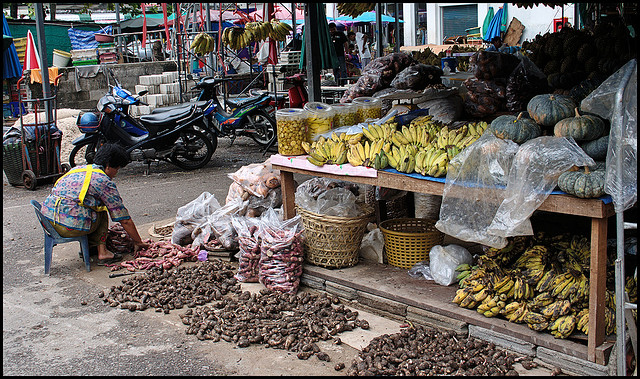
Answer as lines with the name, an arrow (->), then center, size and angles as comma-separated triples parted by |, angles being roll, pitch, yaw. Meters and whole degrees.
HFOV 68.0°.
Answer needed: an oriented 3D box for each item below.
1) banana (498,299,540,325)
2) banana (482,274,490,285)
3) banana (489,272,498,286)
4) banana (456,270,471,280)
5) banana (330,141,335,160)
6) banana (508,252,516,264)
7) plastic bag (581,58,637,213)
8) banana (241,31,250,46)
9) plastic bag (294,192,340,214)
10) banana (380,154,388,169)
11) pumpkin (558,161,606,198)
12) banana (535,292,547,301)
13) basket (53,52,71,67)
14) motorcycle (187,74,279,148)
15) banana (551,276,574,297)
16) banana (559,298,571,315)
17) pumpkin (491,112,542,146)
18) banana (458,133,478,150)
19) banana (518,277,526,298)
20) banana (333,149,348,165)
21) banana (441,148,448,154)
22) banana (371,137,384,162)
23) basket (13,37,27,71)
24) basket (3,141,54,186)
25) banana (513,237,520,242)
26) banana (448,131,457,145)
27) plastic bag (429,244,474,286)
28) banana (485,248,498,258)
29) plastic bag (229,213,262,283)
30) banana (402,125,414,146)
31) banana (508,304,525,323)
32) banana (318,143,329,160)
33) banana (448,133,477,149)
banana -> 1.911, 1.171, 4.537 | 0.307, 0.219, 0.187 | -8, 16, -15
banana -> 1.655, 0.897, 4.734 | 0.063, 0.023, 0.089 | -1, 34, 19
banana -> 1.725, 0.879, 4.724 | 0.057, 0.025, 0.104 | -5, 29, 9
banana -> 1.505, 0.889, 4.996 | 0.175, 0.051, 0.051 | -24, 33, -17
banana -> 0.146, -0.466, 5.494 | 0.038, 0.138, 0.040 | 5, -3, 37
banana -> 1.982, 0.705, 4.905 | 0.070, 0.119, 0.054 | 2, 18, 21
plastic bag -> 2.475, -0.463, 4.043 | 0.448, 1.242, 0.525 | 3, 18, 23
banana -> -1.766, -3.578, 11.310 | 0.101, 0.386, 0.112 | -18, 10, 16
plastic bag -> -0.092, 0.157, 5.599 | 0.322, 0.113, 0.308 | -3, 15, -29
banana -> 0.688, -0.310, 5.113 | 0.104, 0.129, 0.046 | 8, 2, -16
pumpkin -> 2.343, -0.092, 4.158 | 0.357, 0.154, 0.323 | -16, 18, -34
banana -> 2.103, 1.011, 4.534 | 0.165, 0.026, 0.048 | -25, 56, -34
basket -> -8.823, -4.370, 16.064 | 0.533, 0.380, 0.520 | -15, 34, -43
motorcycle -> -2.118, -1.813, 11.112 | 2.643, 1.558, 1.209 | 3, 17, 26
banana -> 2.300, 0.917, 4.490 | 0.235, 0.150, 0.057 | -10, 17, -22
banana -> 2.266, 1.089, 4.378 | 0.093, 0.125, 0.040 | 22, -11, 37
pumpkin -> 2.038, -0.607, 4.822 | 0.458, 0.216, 0.461 | -5, 11, -41
banana -> 1.533, -0.495, 4.910 | 0.323, 0.069, 0.090 | -40, 19, -23
banana -> 1.964, 0.950, 4.610 | 0.079, 0.179, 0.058 | 2, -22, 24
banana -> 0.243, -0.357, 5.356 | 0.225, 0.059, 0.083 | -43, -15, 20
banana -> 1.304, -0.405, 4.979 | 0.075, 0.047, 0.070 | 4, 13, 22
banana -> 0.656, -0.477, 5.311 | 0.074, 0.322, 0.121 | 30, -10, 20
basket -> -10.800, -4.980, 17.176 | 0.369, 1.023, 1.176 | -14, 18, -28
basket -> -5.687, -0.508, 9.350 | 0.936, 0.583, 0.763 | 0, 2, -14
banana -> 2.056, 0.524, 4.949 | 0.046, 0.011, 0.029 | -41, 37, -9
banana -> 1.436, -0.559, 5.155 | 0.060, 0.061, 0.180 | 7, 44, 28
plastic bag -> 1.378, 0.797, 5.114 | 0.381, 0.439, 0.203 | -2, -28, 19
banana -> 1.764, 0.659, 4.903 | 0.118, 0.066, 0.099 | 3, 16, 25
plastic bag -> -0.892, 0.728, 5.807 | 0.409, 0.727, 0.501 | -6, 16, -6
banana -> 0.992, -0.629, 5.463 | 0.079, 0.226, 0.086 | -19, -19, 6
banana -> 1.887, 1.191, 4.583 | 0.069, 0.241, 0.080 | 40, -2, 20
banana -> 0.021, -0.445, 5.532 | 0.075, 0.212, 0.079 | -26, -9, -36
banana -> 1.507, -0.525, 5.045 | 0.177, 0.074, 0.219 | 3, 27, 25
